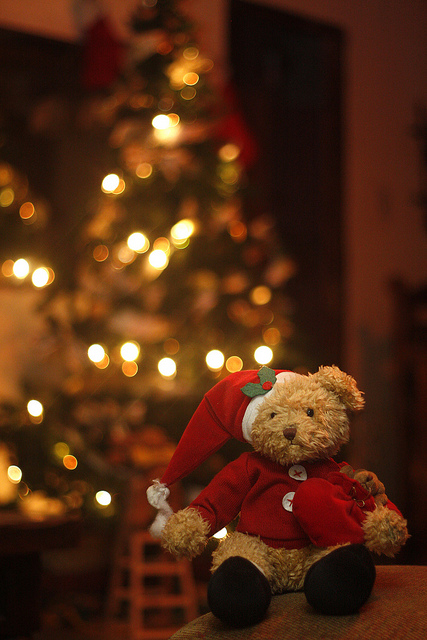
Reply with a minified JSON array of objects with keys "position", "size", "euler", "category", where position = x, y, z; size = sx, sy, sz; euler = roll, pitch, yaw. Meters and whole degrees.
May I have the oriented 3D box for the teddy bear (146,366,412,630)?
[{"position":[0.092,0.256,1.064],"size":[0.421,0.358,0.281],"euler":[-1,-2,17],"category":"teddy bear"}]
